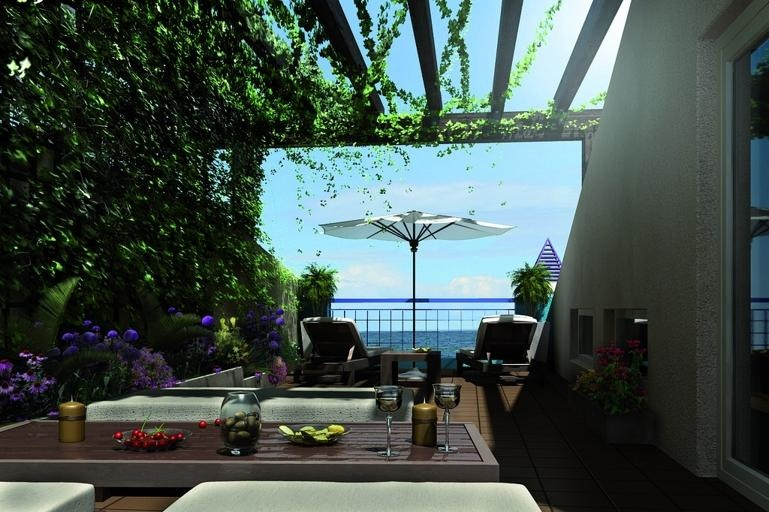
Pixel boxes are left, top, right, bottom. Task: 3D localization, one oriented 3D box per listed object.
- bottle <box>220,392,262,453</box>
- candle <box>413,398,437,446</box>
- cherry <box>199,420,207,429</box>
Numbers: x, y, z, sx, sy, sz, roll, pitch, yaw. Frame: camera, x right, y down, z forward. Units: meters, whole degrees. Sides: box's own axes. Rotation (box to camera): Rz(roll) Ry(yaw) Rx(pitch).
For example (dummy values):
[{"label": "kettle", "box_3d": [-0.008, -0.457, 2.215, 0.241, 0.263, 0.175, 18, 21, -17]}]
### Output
[{"label": "bottle", "box_3d": [-0.824, 0.959, 3.017, 0.239, 0.344, 0.237, 3, -1, 0]}, {"label": "candle", "box_3d": [0.241, 1.026, 3.136, 0.224, 0.309, 0.212, 0, -7, 4]}, {"label": "cherry", "box_3d": [-1.239, 1.148, 3.468, 0.051, 0.059, 0.050, 3, 17, -28]}]
